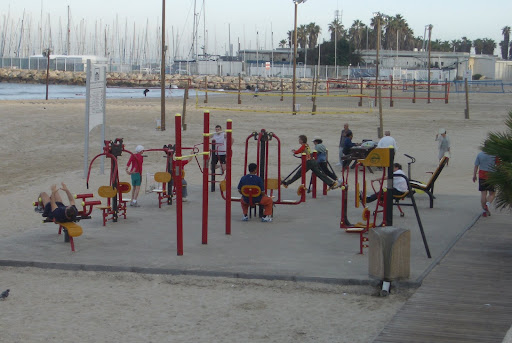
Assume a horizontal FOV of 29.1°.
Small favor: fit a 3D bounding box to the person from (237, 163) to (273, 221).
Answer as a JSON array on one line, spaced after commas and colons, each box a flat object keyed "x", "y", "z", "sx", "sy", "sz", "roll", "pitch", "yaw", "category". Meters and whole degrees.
[{"x": -0.009, "y": 0.637, "z": 30.220, "sx": 1.059, "sy": 1.799, "sz": 0.555, "roll": 1, "pitch": 10, "yaw": 0, "category": "person"}]

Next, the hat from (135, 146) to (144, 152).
[{"x": -3.668, "y": -0.703, "z": 31.380, "sx": 0.219, "sy": 0.174, "sz": 0.302, "roll": 7, "pitch": 17, "yaw": 16, "category": "hat"}]

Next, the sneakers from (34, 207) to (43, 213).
[{"x": -6.383, "y": 1.142, "z": 28.864, "sx": 0.351, "sy": 0.148, "sz": 0.130, "roll": 9, "pitch": 1, "yaw": 26, "category": "sneakers"}]

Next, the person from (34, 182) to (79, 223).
[{"x": -5.739, "y": 0.919, "z": 28.499, "sx": 0.847, "sy": 1.079, "sz": 1.257, "roll": -7, "pitch": 13, "yaw": -38, "category": "person"}]

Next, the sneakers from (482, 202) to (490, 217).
[{"x": 7.068, "y": 1.195, "z": 30.253, "sx": 0.187, "sy": 0.449, "sz": 0.193, "roll": -10, "pitch": -9, "yaw": 22, "category": "sneakers"}]

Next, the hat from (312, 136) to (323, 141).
[{"x": 2.369, "y": -1.269, "z": 38.039, "sx": 0.527, "sy": 0.165, "sz": 0.520, "roll": 0, "pitch": -4, "yaw": -24, "category": "hat"}]

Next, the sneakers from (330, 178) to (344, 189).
[{"x": 2.713, "y": 0.422, "z": 32.580, "sx": 0.187, "sy": 0.229, "sz": 0.546, "roll": 4, "pitch": 15, "yaw": 21, "category": "sneakers"}]

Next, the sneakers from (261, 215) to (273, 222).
[{"x": 0.357, "y": 1.451, "z": 30.235, "sx": 0.344, "sy": 0.187, "sz": 0.134, "roll": 0, "pitch": 6, "yaw": -2, "category": "sneakers"}]
